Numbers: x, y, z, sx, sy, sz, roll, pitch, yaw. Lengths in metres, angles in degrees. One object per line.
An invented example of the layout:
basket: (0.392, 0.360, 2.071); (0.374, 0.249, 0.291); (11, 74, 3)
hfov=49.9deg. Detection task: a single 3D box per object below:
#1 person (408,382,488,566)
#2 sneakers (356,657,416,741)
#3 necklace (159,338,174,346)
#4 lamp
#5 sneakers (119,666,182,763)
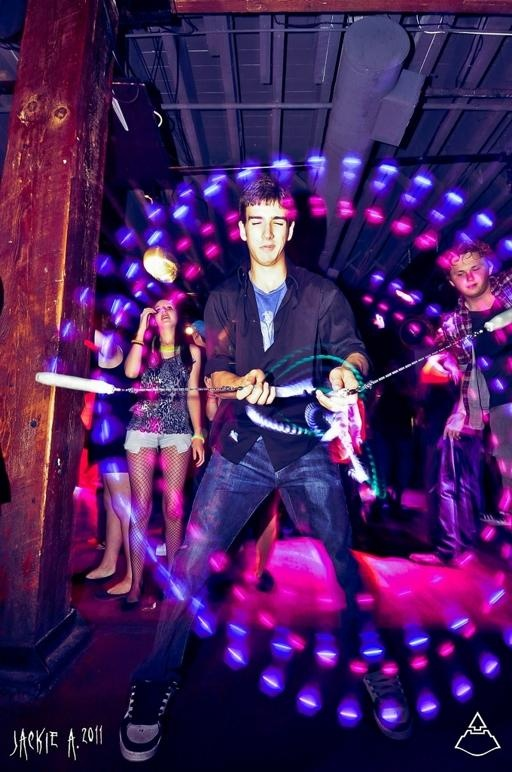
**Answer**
person: (1.969, 0.903, 5.634); (0.439, 0.572, 1.779); (-13, 20, 30)
sneakers: (0.558, 1.331, 2.327); (0.097, 0.102, 0.283); (-5, 17, 2)
necklace: (-0.640, -0.318, 3.960); (0.087, 0.063, 0.051); (-2, 66, -2)
lamp: (-1.150, -2.577, 5.132); (0.407, 0.721, 0.527); (9, 48, -8)
sneakers: (-0.440, 1.334, 2.193); (0.107, 0.334, 0.133); (7, 81, -1)
